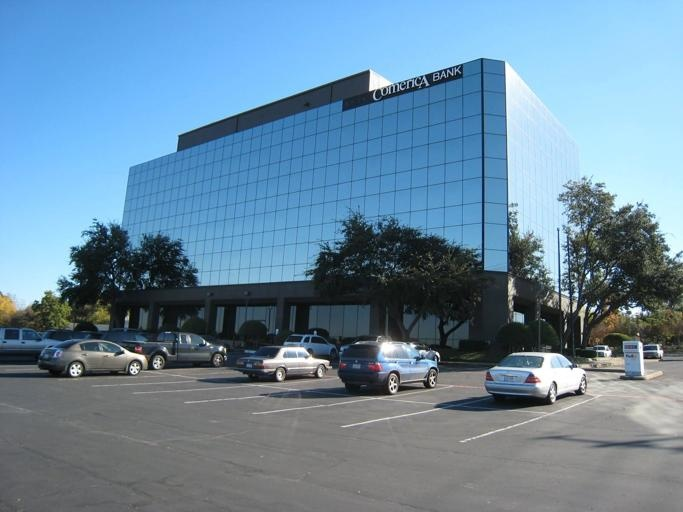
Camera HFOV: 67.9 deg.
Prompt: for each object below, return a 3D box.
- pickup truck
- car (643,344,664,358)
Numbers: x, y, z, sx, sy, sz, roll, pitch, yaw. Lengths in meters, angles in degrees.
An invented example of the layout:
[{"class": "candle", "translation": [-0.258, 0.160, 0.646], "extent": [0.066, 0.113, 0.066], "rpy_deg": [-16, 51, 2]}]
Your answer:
[{"class": "pickup truck", "translation": [-8.854, 5.100, 27.496], "extent": [4.025, 1.466, 1.911], "rpy_deg": [5, -7, -41]}, {"class": "car", "translation": [35.101, 10.727, 57.093], "extent": [1.521, 1.832, 4.909], "rpy_deg": [-5, -13, 35]}]
